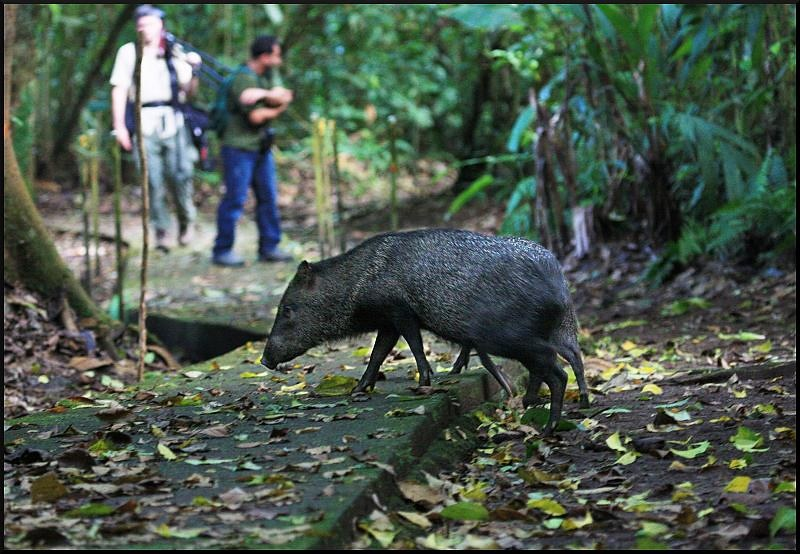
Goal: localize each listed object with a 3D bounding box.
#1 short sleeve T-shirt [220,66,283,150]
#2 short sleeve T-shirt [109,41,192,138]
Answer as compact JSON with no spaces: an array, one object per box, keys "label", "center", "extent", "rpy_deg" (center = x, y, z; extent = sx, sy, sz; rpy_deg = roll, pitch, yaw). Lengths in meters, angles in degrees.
[{"label":"short sleeve T-shirt","center":[-1.303,-1.389,6.793],"extent":[0.307,0.703,0.480],"rpy_deg":[6,12,20]},{"label":"short sleeve T-shirt","center":[-1.855,-1.358,6.233],"extent":[0.612,0.799,0.348],"rpy_deg":[-2,12,-18]}]
